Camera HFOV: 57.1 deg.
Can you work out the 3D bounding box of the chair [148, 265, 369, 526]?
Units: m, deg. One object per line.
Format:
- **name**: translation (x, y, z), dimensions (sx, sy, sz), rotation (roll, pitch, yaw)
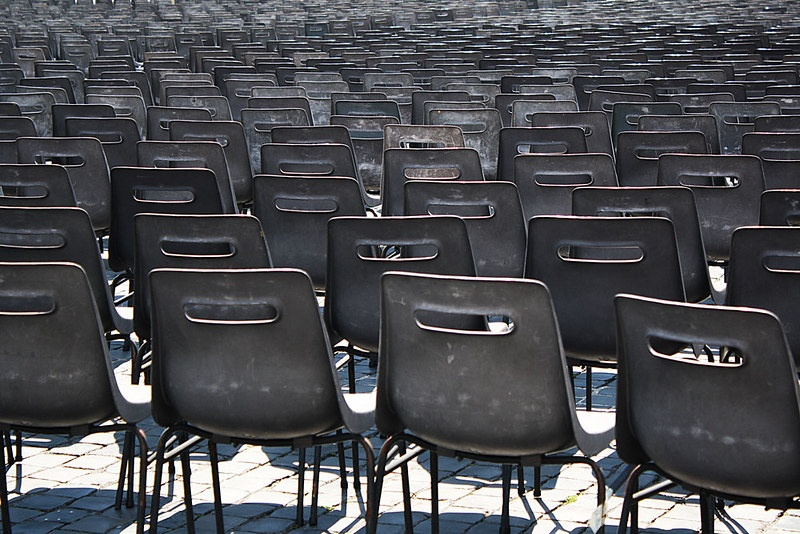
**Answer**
- **chair**: translation (-0.558, 0.435, 3.346), dimensions (0.905, 1.496, 1.060), rotation (1, 9, 9)
